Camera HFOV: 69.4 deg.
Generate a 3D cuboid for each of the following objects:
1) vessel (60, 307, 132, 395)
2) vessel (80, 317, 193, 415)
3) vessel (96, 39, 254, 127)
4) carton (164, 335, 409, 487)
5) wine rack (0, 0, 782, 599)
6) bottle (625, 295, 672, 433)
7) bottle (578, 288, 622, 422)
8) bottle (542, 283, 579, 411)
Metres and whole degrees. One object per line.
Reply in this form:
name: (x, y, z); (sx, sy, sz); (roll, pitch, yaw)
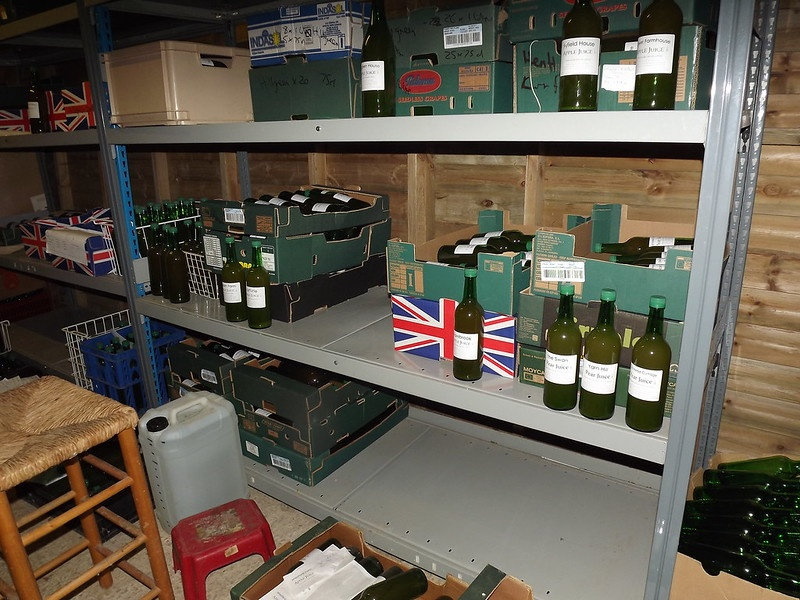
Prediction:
vessel: (-1.745, 0.302, 3.328); (0.334, 0.289, 0.328); (-20, 31, -24)
vessel: (-1.500, 0.471, 3.273); (0.433, 0.309, 0.432); (-18, -13, 35)
vessel: (-1.013, -0.998, 2.725); (0.459, 0.289, 0.607); (3, 19, 20)
carton: (-0.534, 0.498, 2.663); (0.906, 0.427, 0.657); (13, 23, 28)
wine rack: (0.008, 0.045, 2.284); (2.297, 2.111, 0.758); (15, 30, 29)
bottle: (0.761, 0.207, 1.741); (0.152, 0.368, 0.106); (-12, 21, -24)
bottle: (0.626, 0.187, 1.795); (0.123, 0.362, 0.112); (-3, 19, 1)
bottle: (0.529, 0.141, 1.861); (0.110, 0.399, 0.163); (4, 20, 18)
